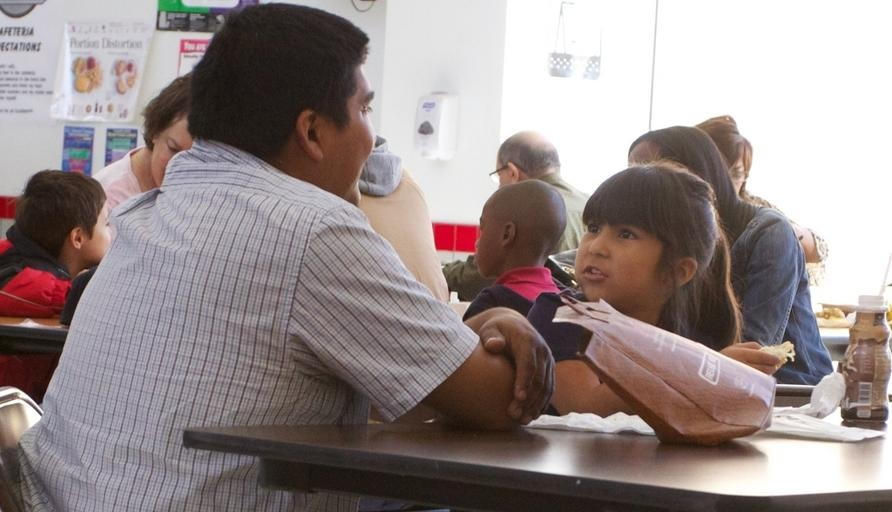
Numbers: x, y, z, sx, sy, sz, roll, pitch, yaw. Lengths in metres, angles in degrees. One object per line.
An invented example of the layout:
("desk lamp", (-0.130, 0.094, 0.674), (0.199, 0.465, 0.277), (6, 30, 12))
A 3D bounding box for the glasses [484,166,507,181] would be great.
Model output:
("glasses", (0.319, -0.521, 4.603), (0.121, 0.037, 0.118), (-42, 17, -27))

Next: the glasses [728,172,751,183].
("glasses", (1.250, -0.334, 3.090), (0.095, 0.062, 0.093), (1, 2, 18))

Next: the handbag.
("handbag", (0.447, 0.294, 1.604), (0.460, 0.128, 0.286), (18, 25, 7))

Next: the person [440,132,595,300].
("person", (0.510, -0.289, 4.577), (0.856, 0.938, 1.251), (-15, 11, -38))

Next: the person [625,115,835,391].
("person", (1.133, -0.203, 3.106), (0.398, 0.690, 0.760), (4, -9, -35))
